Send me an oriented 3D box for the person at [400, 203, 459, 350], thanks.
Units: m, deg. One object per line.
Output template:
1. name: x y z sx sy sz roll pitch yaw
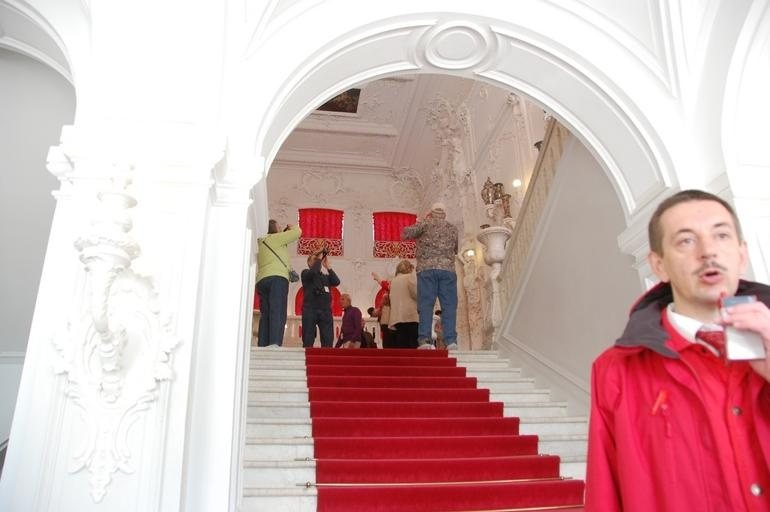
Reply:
1. person: 0.706 0.378 6.757 0.695 1.871 0.335 -3 -12 9

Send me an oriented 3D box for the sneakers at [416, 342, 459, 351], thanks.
1. sneakers: 0.748 1.271 6.634 0.528 0.112 0.287 -1 -11 0

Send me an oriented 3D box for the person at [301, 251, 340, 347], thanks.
1. person: -0.962 0.584 6.959 0.538 1.505 1.054 0 -12 -7

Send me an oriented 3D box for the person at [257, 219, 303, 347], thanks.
1. person: -1.413 0.303 6.127 0.500 1.694 0.930 3 -12 -18

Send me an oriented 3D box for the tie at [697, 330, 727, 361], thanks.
1. tie: 1.237 0.336 1.765 0.111 0.105 0.090 -11 -7 42
